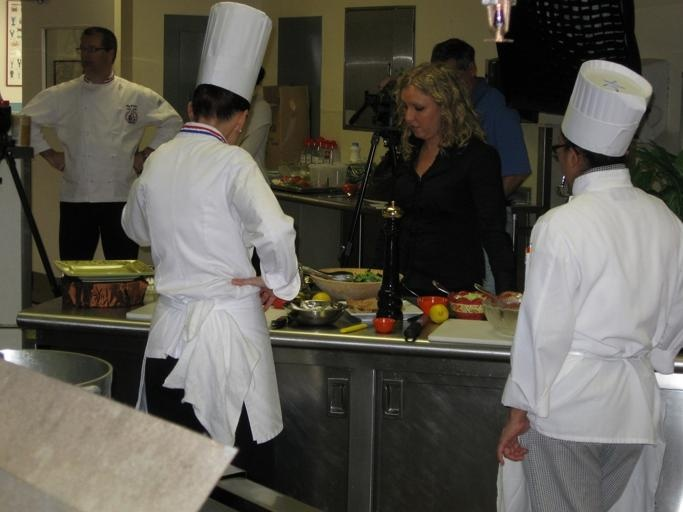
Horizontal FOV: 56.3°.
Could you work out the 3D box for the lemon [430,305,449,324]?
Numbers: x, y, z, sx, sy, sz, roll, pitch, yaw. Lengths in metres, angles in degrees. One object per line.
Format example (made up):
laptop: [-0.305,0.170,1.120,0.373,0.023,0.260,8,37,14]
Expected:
lemon: [0.363,0.213,2.432,0.066,0.071,0.069,-1,16,-11]

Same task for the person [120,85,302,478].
person: [-0.418,0.101,2.043,0.602,1.069,0.385,-3,1,8]

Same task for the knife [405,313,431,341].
knife: [0.274,0.256,2.300,0.051,0.032,0.269,2,5,9]

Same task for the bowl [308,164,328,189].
bowl: [-0.192,-0.715,5.640,0.177,0.211,0.186,2,3,0]

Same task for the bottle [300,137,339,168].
bottle: [-0.195,-0.990,6.162,0.308,0.361,0.345,4,5,32]

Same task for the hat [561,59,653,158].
hat: [0.738,-0.400,1.772,0.174,0.194,0.213,-14,42,-21]
